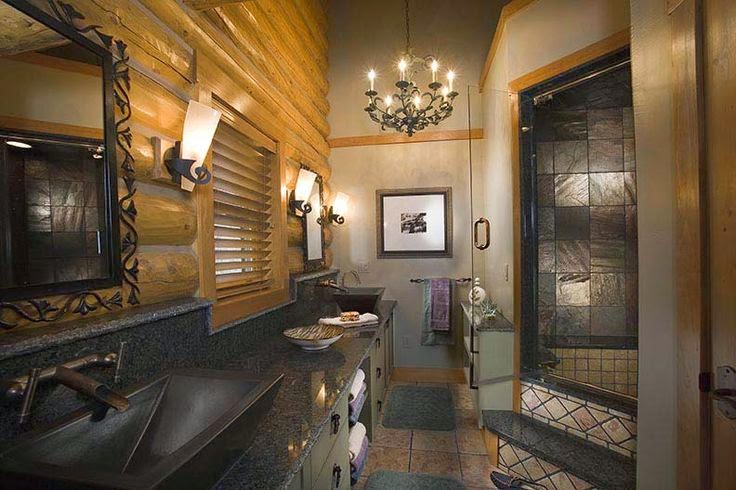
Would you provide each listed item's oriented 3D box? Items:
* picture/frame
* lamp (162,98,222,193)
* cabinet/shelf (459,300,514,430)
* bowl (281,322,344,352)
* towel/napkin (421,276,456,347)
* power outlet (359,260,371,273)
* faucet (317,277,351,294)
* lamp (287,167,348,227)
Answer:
[{"bbox_3d":[0.517,-0.239,5.037,0.785,0.731,0.058,-1,1,11],"label":"picture/frame"},{"bbox_3d":[-0.894,-0.502,2.467,0.257,0.435,0.158,-1,3,-18],"label":"lamp"},{"bbox_3d":[0.892,0.923,3.636,0.242,0.963,0.976,0,3,7],"label":"cabinet/shelf"},{"bbox_3d":[-0.315,0.563,2.946,0.319,0.107,0.364,0,2,11],"label":"bowl"},{"bbox_3d":[0.694,0.664,4.849,0.319,0.673,0.145,0,3,6],"label":"towel/napkin"},{"bbox_3d":[-0.031,0.227,5.132,0.136,0.133,0.014,2,-2,8],"label":"power outlet"},{"bbox_3d":[-0.304,0.334,4.041,0.118,0.073,0.339,0,2,-33],"label":"faucet"},{"bbox_3d":[-0.473,-0.429,4.392,0.231,0.253,0.651,-11,-13,15],"label":"lamp"}]
